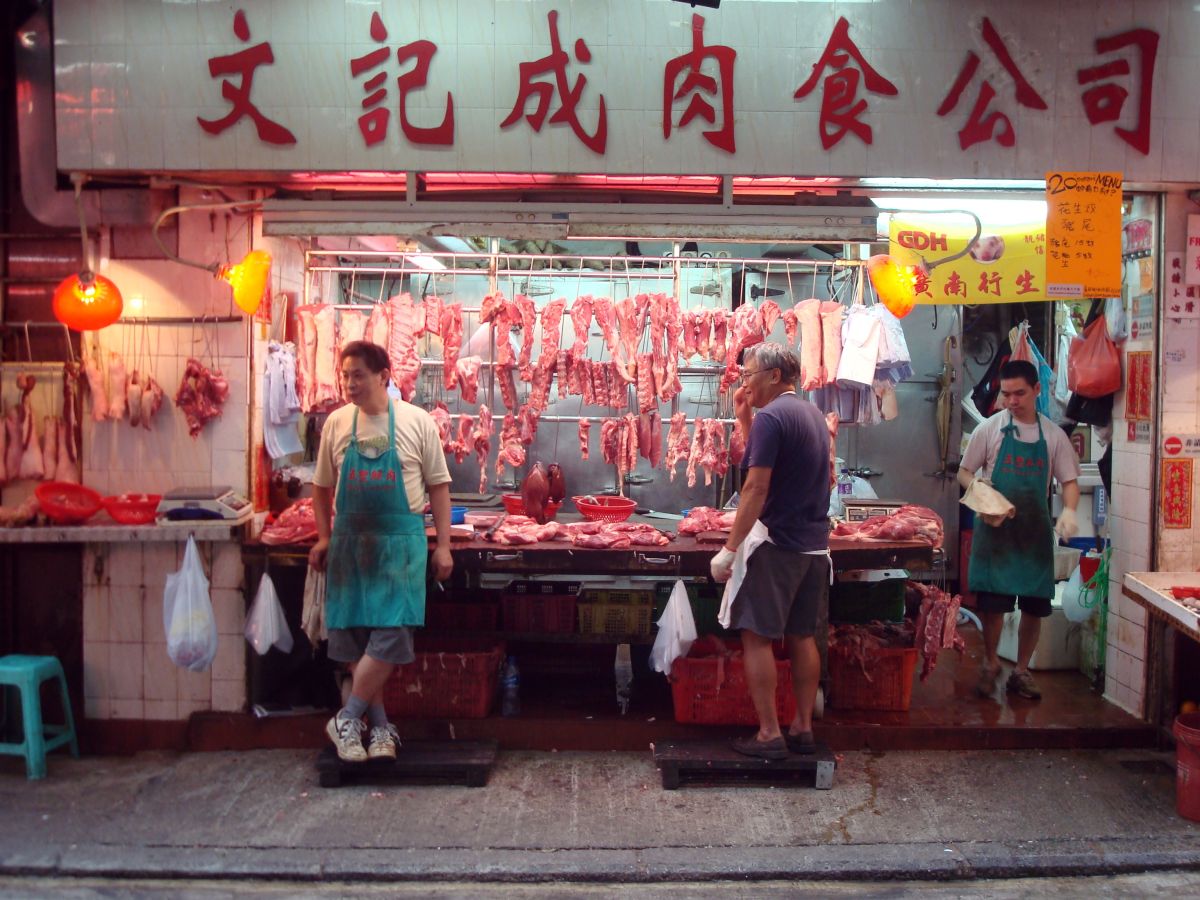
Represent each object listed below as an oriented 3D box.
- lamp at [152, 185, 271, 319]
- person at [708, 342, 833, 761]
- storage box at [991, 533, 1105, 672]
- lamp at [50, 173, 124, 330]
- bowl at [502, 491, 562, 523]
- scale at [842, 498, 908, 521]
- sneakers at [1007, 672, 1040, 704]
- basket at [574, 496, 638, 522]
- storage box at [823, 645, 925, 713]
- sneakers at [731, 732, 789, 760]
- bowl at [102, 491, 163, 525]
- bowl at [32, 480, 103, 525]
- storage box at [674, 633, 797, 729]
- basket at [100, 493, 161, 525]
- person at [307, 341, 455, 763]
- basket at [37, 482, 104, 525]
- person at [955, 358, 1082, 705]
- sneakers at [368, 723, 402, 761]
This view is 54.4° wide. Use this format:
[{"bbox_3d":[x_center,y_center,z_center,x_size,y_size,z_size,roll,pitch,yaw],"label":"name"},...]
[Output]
[{"bbox_3d":[-2.659,-1.366,8.037,0.794,0.922,0.543,-3,6,-18],"label":"lamp"},{"bbox_3d":[1.103,0.640,7.508,0.873,2.599,0.448,-3,6,-22],"label":"person"},{"bbox_3d":[3.690,1.123,9.420,1.014,0.869,0.957,0,-1,37],"label":"storage box"},{"bbox_3d":[-3.418,-1.276,7.757,0.405,1.010,0.413,12,28,1],"label":"lamp"},{"bbox_3d":[-0.523,0.403,8.819,0.384,0.205,0.622,-2,6,-12],"label":"bowl"},{"bbox_3d":[2.110,0.448,8.950,0.486,0.135,0.410,-1,6,2],"label":"scale"},{"bbox_3d":[3.090,1.726,8.543,0.107,0.151,0.310,-1,-2,-19],"label":"sneakers"},{"bbox_3d":[0.099,0.447,8.830,0.463,0.200,0.410,-6,8,-43],"label":"basket"},{"bbox_3d":[1.918,1.589,8.268,0.514,0.304,0.461,0,3,6],"label":"storage box"},{"bbox_3d":[1.018,1.856,7.470,0.300,0.145,0.148,2,0,26],"label":"sneakers"},{"bbox_3d":[-3.217,0.395,8.047,0.439,0.183,0.379,-1,6,-4],"label":"bowl"},{"bbox_3d":[-3.640,0.354,7.982,0.309,0.144,0.347,-3,35,-17],"label":"bowl"},{"bbox_3d":[0.803,1.612,8.109,0.556,0.439,0.586,-1,-4,1],"label":"storage box"},{"bbox_3d":[-3.192,0.393,7.978,0.246,0.128,0.265,0,-3,0],"label":"basket"},{"bbox_3d":[-1.418,0.630,7.567,0.904,2.655,0.564,-2,5,-13],"label":"person"},{"bbox_3d":[-3.651,0.348,8.049,0.464,0.282,0.281,-2,6,-14],"label":"basket"},{"bbox_3d":[3.049,0.572,8.521,0.803,2.439,0.398,1,5,19],"label":"person"},{"bbox_3d":[-1.387,1.867,7.483,0.138,0.160,0.374,0,-10,-5],"label":"sneakers"}]
